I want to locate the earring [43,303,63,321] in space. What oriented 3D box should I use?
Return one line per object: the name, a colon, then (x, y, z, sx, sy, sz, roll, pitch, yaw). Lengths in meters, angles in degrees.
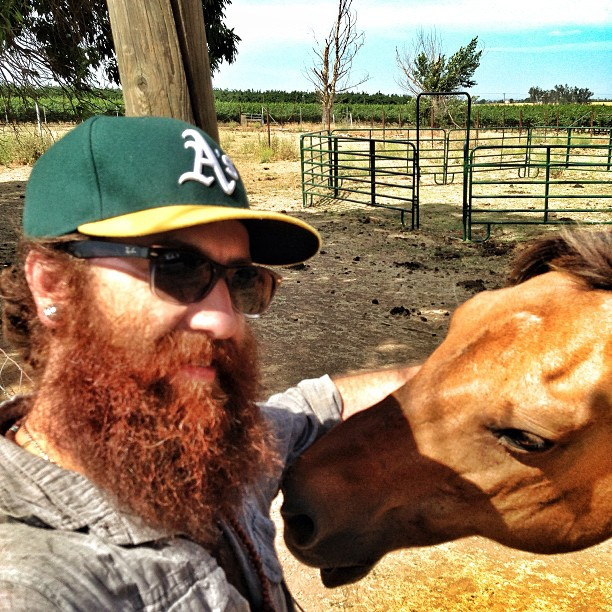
earring: (-0.554, 0.012, 1.338, 0.049, 0.040, 0.017, 8, 23, 26)
